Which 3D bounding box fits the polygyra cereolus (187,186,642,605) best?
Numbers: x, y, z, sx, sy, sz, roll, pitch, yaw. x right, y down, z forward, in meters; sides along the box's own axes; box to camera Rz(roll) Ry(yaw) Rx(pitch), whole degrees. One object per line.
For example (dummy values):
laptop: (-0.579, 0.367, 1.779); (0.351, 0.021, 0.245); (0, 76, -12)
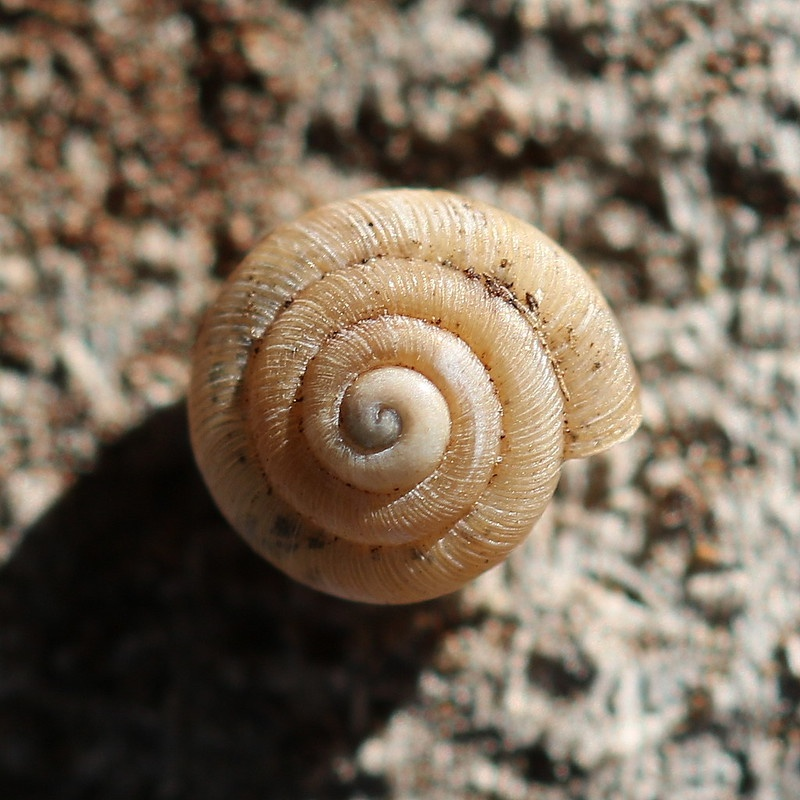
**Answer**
polygyra cereolus: (-0.005, -0.012, 0.969); (0.391, 0.109, 0.361); (-45, 86, -5)
